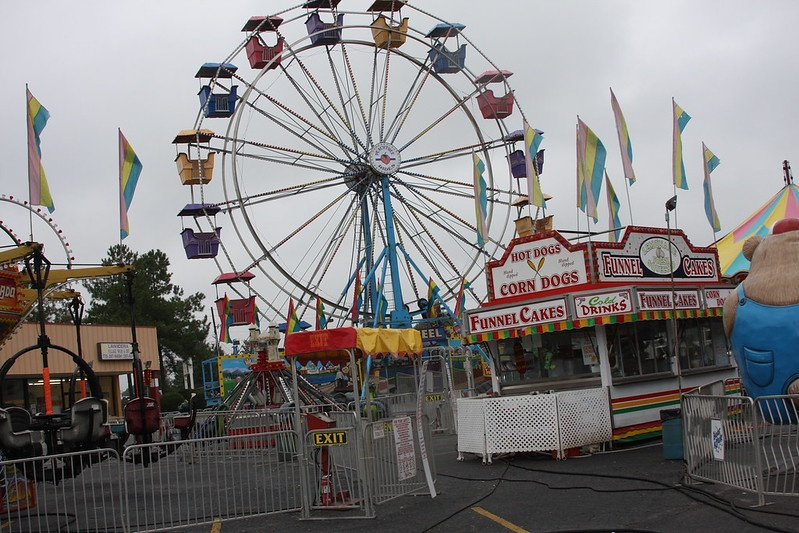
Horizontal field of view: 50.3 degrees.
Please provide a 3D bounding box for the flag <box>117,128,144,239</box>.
[{"bbox_3d":[-6.964,-2.133,22.163,0.696,3.102,0.047,1,4,17],"label":"flag"}]

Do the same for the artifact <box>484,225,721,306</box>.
[{"bbox_3d":[5.289,-0.122,22.633,5.857,2.000,2.358,-4,-1,4],"label":"artifact"}]

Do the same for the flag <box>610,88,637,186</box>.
[{"bbox_3d":[5.921,-3.499,22.636,0.426,2.725,2.447,-4,-1,15],"label":"flag"}]

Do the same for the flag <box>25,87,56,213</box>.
[{"bbox_3d":[-8.812,-2.830,20.860,0.521,2.879,1.306,-4,0,-23],"label":"flag"}]

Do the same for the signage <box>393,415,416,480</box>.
[{"bbox_3d":[0.116,3.719,17.488,0.213,1.304,0.818,-4,0,24],"label":"signage"}]

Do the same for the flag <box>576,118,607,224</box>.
[{"bbox_3d":[5.513,-2.721,24.497,0.729,3.028,0.954,-4,0,-7],"label":"flag"}]
